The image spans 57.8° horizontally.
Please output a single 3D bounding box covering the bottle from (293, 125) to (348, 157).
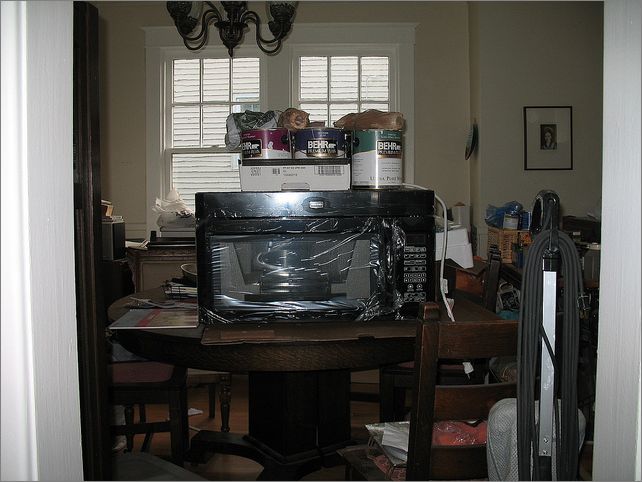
[{"bbox_3d":[-0.009,-0.274,1.657,0.133,0.087,0.137,0,8,0],"label":"bottle"}]

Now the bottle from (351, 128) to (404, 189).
[{"bbox_3d":[0.159,-0.232,1.658,0.143,0.161,0.145,5,6,44],"label":"bottle"}]

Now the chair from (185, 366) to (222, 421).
[{"bbox_3d":[-0.528,0.647,2.540,0.227,0.212,0.175,-5,0,-5],"label":"chair"}]

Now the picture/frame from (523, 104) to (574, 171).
[{"bbox_3d":[1.419,-0.664,3.627,0.392,0.532,0.028,0,0,-1],"label":"picture/frame"}]

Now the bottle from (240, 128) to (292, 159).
[{"bbox_3d":[-0.154,-0.272,1.674,0.137,0.087,0.142,-2,4,0],"label":"bottle"}]
